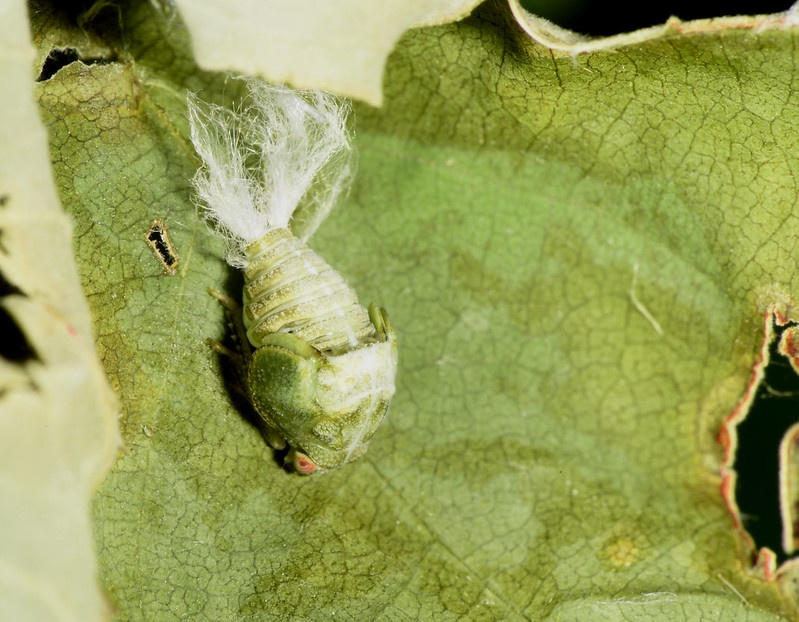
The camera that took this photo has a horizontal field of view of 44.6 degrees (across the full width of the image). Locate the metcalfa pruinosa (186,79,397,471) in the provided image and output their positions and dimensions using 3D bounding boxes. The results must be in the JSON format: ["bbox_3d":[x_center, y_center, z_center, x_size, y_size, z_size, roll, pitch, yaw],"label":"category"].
[{"bbox_3d":[-0.315,-0.128,2.759,0.503,1.147,0.308,-12,-11,-3],"label":"metcalfa pruinosa"}]

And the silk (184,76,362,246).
[{"bbox_3d":[-0.425,-0.470,2.970,0.573,0.519,0.450,-12,31,-25],"label":"silk"}]
